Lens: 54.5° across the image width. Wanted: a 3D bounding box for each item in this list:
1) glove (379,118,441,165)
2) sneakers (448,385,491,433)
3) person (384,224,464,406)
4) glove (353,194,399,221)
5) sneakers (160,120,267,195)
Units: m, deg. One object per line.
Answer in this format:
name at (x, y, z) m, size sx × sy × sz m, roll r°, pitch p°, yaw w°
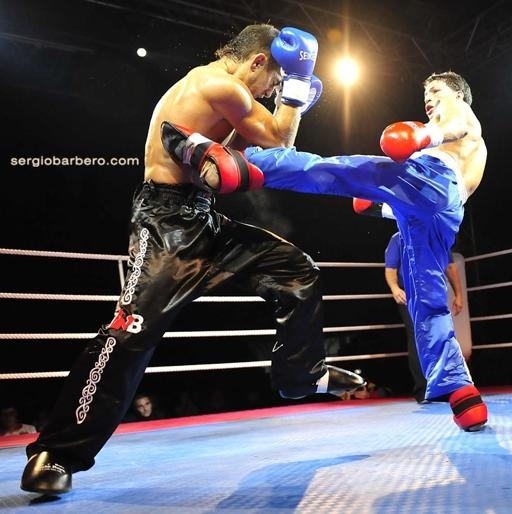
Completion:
glove at (0.511, -0.390, 1.685) m, size 0.155 × 0.152 × 0.174 m, roll 0°, pitch -2°, yaw 18°
sneakers at (0.771, 0.572, 1.850) m, size 0.139 × 0.153 × 0.173 m, roll -30°, pitch -32°, yaw 10°
person at (1.053, 0.299, 3.213) m, size 0.425 × 1.464 × 0.444 m, roll -1°, pitch -11°, yaw 16°
glove at (0.519, -0.207, 2.155) m, size 0.171 × 0.047 × 0.111 m, roll 13°, pitch -15°, yaw -7°
sneakers at (-0.130, -0.293, 1.441) m, size 0.307 × 0.227 × 0.157 m, roll 1°, pitch -2°, yaw -7°
